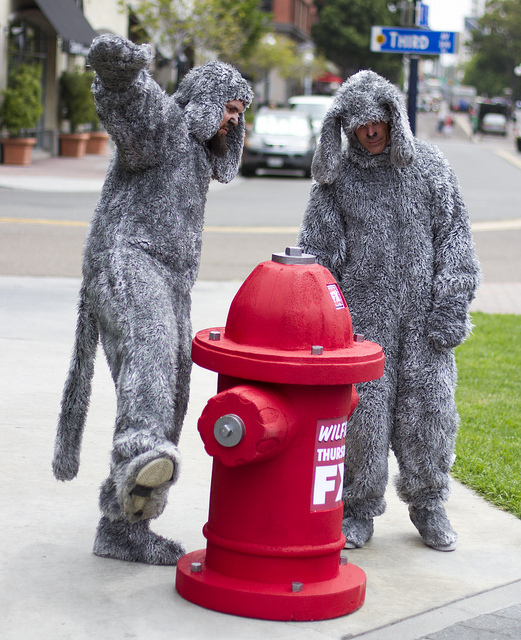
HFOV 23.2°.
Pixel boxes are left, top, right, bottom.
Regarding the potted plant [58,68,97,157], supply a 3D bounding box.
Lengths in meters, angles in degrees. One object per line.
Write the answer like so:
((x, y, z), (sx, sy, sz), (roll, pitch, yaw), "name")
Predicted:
((-4.390, -4.838, 29.698), (0.875, 2.051, 0.881), (-5, 13, 17), "potted plant")

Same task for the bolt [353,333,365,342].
((0.370, 0.068, 4.707), (0.032, 0.019, 0.031), (4, 8, 25), "bolt")

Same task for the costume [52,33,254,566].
((-0.201, -0.028, 4.765), (0.869, 1.939, 0.837), (-8, 26, -31), "costume")

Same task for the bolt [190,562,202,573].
((-0.227, 0.894, 4.586), (0.038, 0.020, 0.031), (0, 1, -8), "bolt")

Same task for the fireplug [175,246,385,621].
((0.099, 0.402, 4.504), (0.725, 1.278, 0.470), (5, 13, -4), "fireplug")

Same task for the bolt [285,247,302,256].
((0.126, -0.242, 4.534), (0.042, 0.022, 0.038), (0, 2, -18), "bolt")

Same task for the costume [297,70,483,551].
((0.490, -0.013, 5.334), (0.939, 1.887, 0.617), (-1, -1, -13), "costume")

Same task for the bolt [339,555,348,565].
((0.321, 0.911, 4.828), (0.038, 0.027, 0.035), (0, -5, 1), "bolt")

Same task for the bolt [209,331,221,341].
((-0.158, 0.058, 4.553), (0.036, 0.022, 0.033), (3, 8, 11), "bolt")

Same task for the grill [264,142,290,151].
((0.375, -3.583, 26.556), (0.497, 0.132, 0.058), (3, 13, -8), "grill")

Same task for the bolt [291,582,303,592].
((0.136, 0.941, 4.484), (0.030, 0.022, 0.035), (1, 0, -12), "bolt")

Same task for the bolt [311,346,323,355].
((0.199, 0.106, 4.340), (0.032, 0.017, 0.029), (0, 2, -9), "bolt")

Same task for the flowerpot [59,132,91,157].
((-4.339, -4.069, 29.874), (0.812, 0.490, 0.594), (0, 4, -2), "flowerpot")

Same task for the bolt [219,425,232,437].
((-0.117, 0.377, 4.308), (0.046, 0.042, 0.015), (13, 14, 33), "bolt")

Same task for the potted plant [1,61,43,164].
((-4.545, -3.869, 24.227), (0.748, 1.939, 1.884), (4, 12, -10), "potted plant")
